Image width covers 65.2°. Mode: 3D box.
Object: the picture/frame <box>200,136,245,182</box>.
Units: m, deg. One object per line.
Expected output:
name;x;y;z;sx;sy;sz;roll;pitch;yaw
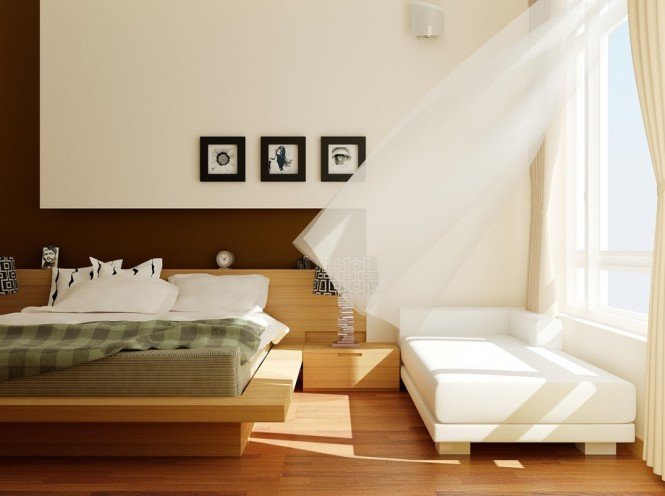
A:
picture/frame;-1.076;-0.874;5.034;0.438;0.438;0.033;0;3;0

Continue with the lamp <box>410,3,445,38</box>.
lamp;0.902;-2.153;4.908;0.337;0.331;0.185;1;6;10

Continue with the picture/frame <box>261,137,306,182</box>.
picture/frame;-0.483;-0.871;5.034;0.433;0.415;0.033;1;-3;-3

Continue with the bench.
bench;1.180;0.902;3.788;0.948;0.555;1.423;0;-5;0
